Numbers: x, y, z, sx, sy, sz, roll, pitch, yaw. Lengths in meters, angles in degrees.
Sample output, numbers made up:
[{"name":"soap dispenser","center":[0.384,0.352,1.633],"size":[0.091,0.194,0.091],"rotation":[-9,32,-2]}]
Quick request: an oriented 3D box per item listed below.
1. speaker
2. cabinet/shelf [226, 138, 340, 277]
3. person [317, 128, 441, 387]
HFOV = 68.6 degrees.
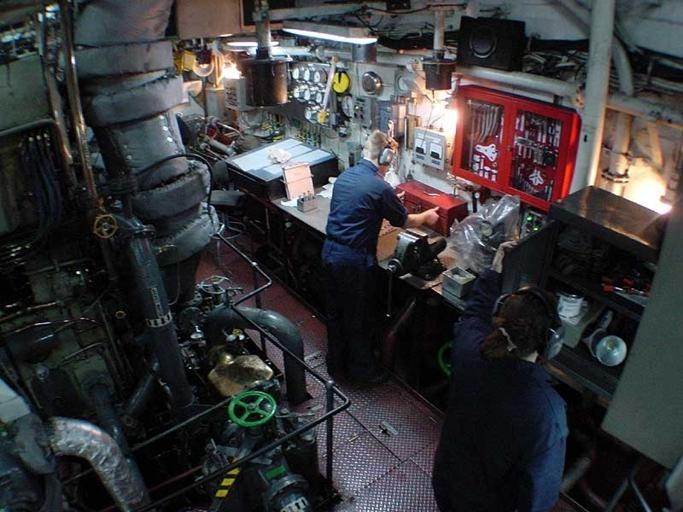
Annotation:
[{"name":"speaker","center":[1.356,-1.890,4.444],"size":[0.279,0.355,0.518],"rotation":[-22,35,-39]},{"name":"cabinet/shelf","center":[-0.780,-0.809,7.053],"size":[1.319,0.446,1.447],"rotation":[-26,41,-32]},{"name":"person","center":[0.204,0.103,4.907],"size":[0.781,2.216,0.939],"rotation":[3,29,6]}]
